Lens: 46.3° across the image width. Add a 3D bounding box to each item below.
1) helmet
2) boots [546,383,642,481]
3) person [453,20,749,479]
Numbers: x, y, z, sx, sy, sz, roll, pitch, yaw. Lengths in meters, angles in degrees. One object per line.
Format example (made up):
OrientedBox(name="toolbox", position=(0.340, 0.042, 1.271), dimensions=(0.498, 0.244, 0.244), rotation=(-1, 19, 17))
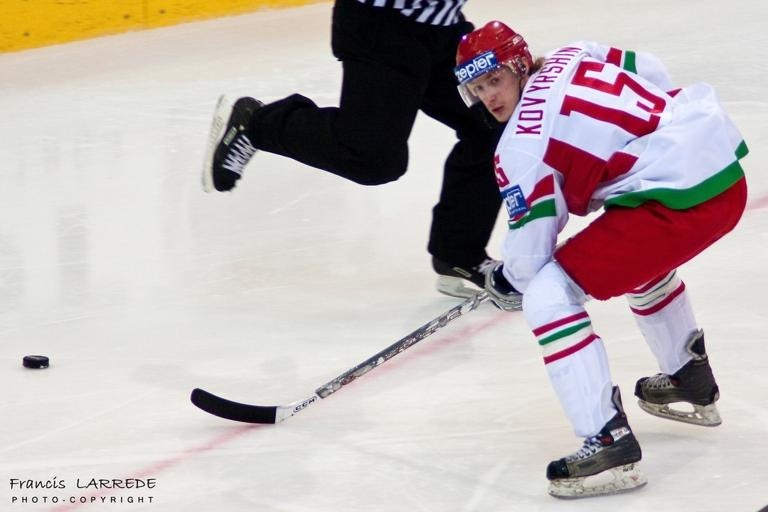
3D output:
OrientedBox(name="helmet", position=(0.335, -0.621, 2.893), dimensions=(0.272, 0.205, 0.195), rotation=(-29, 1, -12))
OrientedBox(name="boots", position=(0.604, 0.529, 2.618), dimensions=(0.274, 0.246, 0.094), rotation=(-14, 18, -17))
OrientedBox(name="person", position=(0.736, -0.047, 2.771), dimensions=(0.845, 1.396, 0.691), rotation=(-11, 17, -2))
